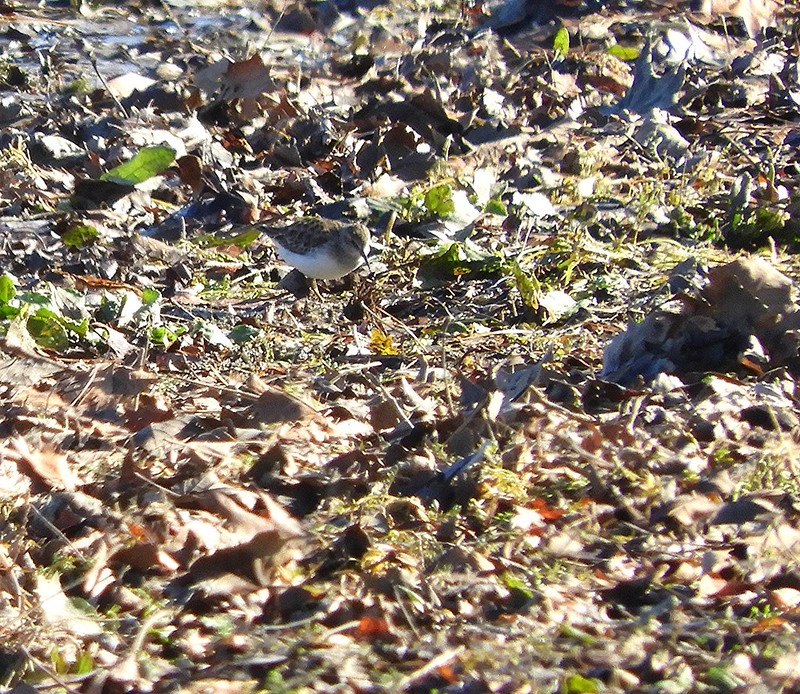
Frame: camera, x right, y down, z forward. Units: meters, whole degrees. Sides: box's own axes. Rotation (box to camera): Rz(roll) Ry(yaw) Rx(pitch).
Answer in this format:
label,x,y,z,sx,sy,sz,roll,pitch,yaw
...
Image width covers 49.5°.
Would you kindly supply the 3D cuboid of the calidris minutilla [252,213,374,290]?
label,x,y,z,sx,sy,sz,roll,pitch,yaw
calidris minutilla,-0.350,-0.476,4.222,0.551,0.234,0.322,36,95,2
